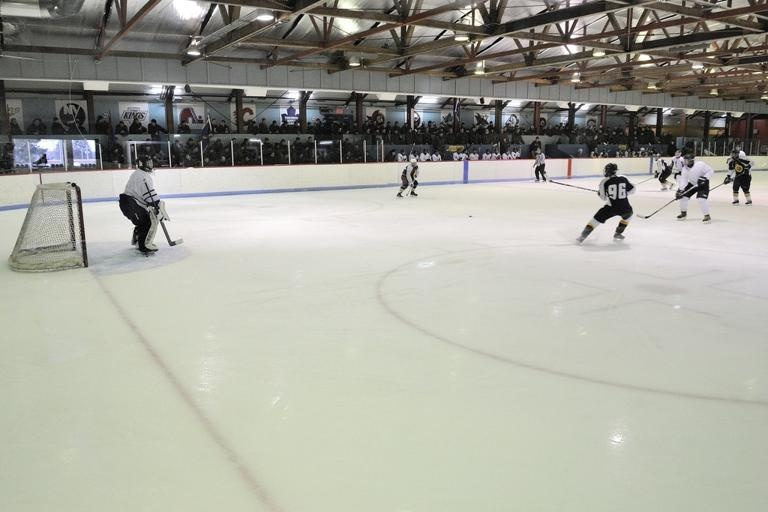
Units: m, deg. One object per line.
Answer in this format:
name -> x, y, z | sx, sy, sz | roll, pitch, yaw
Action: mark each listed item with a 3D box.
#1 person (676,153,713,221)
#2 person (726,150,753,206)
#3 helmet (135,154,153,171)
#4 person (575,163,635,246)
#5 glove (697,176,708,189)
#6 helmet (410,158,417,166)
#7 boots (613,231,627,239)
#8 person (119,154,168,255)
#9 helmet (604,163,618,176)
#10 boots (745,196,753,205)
person -> 6.121, -1.383, 9.885 | 0.606, 1.259, 1.550 | 7, 15, 30
person -> 8.553, -1.923, 12.086 | 0.567, 1.278, 1.058 | 7, 16, 32
helmet -> -3.228, -1.281, 6.852 | 0.254, 0.241, 0.195 | -3, 22, -11
person -> 3.322, -0.806, 7.508 | 0.661, 1.143, 0.986 | 5, 15, 24
glove -> 6.005, -1.398, 9.501 | 0.200, 0.176, 0.171 | 18, 15, 40
helmet -> 0.795, -2.534, 13.485 | 0.140, 0.200, 0.387 | 0, 13, 5
boots -> 3.508, -0.318, 7.526 | 0.128, 0.089, 0.121 | -3, 7, 3
person -> -3.242, -0.695, 6.830 | 0.692, 1.288, 0.370 | 11, 18, 43
helmet -> 3.304, -1.261, 7.345 | 0.153, 0.183, 0.509 | 4, 14, 22
boots -> 8.586, -1.315, 11.851 | 0.298, 0.197, 0.109 | -13, 17, -41
